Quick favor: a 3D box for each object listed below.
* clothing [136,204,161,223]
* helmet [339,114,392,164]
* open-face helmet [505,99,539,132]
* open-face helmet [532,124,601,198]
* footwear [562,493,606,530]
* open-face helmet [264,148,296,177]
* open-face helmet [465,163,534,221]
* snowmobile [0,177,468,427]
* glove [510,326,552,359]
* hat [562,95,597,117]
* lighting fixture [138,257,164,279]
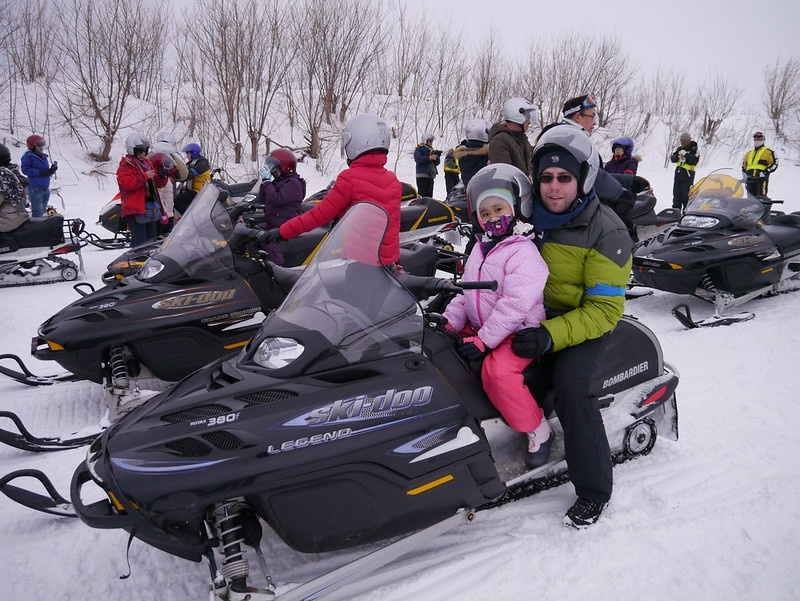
[{"bbox_3d":[-3.310,-1.154,7.840,0.091,0.161,0.248,13,19,30],"label":"clothing"},{"bbox_3d":[-0.287,-1.344,5.000,0.391,0.411,0.449,-9,18,-32],"label":"helmet"},{"bbox_3d":[1.303,-2.067,6.652,0.383,0.350,0.295,-8,10,1],"label":"open-face helmet"},{"bbox_3d":[1.073,-0.865,3.844,0.432,0.435,0.548,7,-1,30],"label":"open-face helmet"},{"bbox_3d":[1.123,1.294,3.662,0.344,0.139,0.120,0,-8,-36],"label":"footwear"},{"bbox_3d":[-1.165,-1.340,5.888,0.347,0.267,0.250,-3,31,-17],"label":"open-face helmet"},{"bbox_3d":[0.619,-0.693,3.736,0.348,0.292,0.377,-14,-25,32],"label":"open-face helmet"},{"bbox_3d":[-1.396,-0.261,5.432,3.401,1.385,1.500,-12,9,-29],"label":"snowmobile"},{"bbox_3d":[0.760,0.222,3.545,0.214,0.172,0.095,-25,38,-1],"label":"glove"},{"bbox_3d":[1.671,-1.815,5.574,0.251,0.097,0.216,-18,7,11],"label":"hat"},{"bbox_3d":[-2.031,-0.255,4.878,0.226,0.153,0.086,-1,-11,28],"label":"lighting fixture"}]
